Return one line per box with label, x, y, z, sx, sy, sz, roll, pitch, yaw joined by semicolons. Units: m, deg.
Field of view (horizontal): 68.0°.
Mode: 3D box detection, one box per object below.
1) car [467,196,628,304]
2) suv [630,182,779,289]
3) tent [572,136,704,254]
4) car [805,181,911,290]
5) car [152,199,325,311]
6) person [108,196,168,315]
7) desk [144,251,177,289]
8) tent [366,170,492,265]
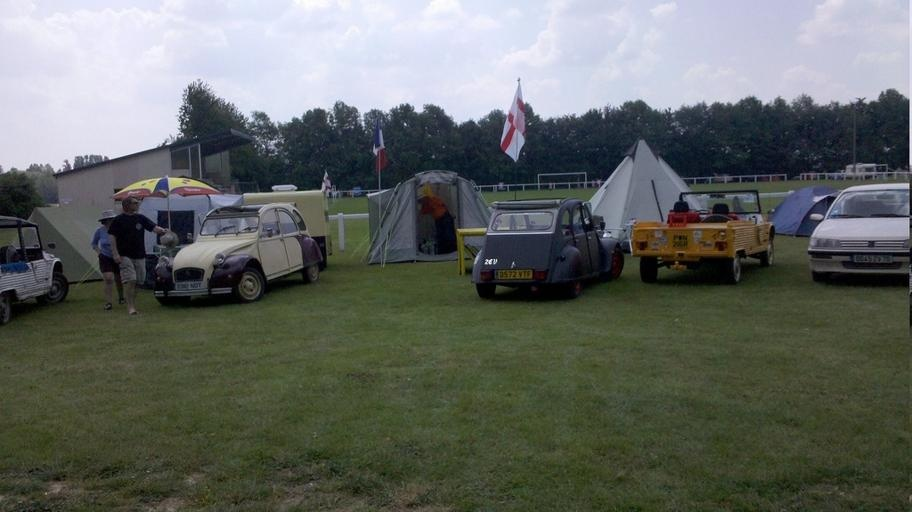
car;2.270;-0.220;15.944;3.746;2.231;1.778;-9;11;-38
suv;6.747;-0.510;17.823;2.489;2.021;4.210;3;11;35
tent;6.169;-2.064;22.917;3.961;2.042;3.659;2;13;22
car;10.200;-0.564;17.222;2.703;2.260;4.775;-2;0;31
car;-5.422;-0.116;17.148;2.131;2.272;3.949;3;10;29
person;-7.274;-0.033;15.310;0.933;2.623;0.909;-6;10;-28
desk;-7.453;0.308;16.870;0.970;0.854;1.798;0;1;-16
tent;-1.202;-1.222;22.354;3.065;1.853;3.584;-7;9;-39
